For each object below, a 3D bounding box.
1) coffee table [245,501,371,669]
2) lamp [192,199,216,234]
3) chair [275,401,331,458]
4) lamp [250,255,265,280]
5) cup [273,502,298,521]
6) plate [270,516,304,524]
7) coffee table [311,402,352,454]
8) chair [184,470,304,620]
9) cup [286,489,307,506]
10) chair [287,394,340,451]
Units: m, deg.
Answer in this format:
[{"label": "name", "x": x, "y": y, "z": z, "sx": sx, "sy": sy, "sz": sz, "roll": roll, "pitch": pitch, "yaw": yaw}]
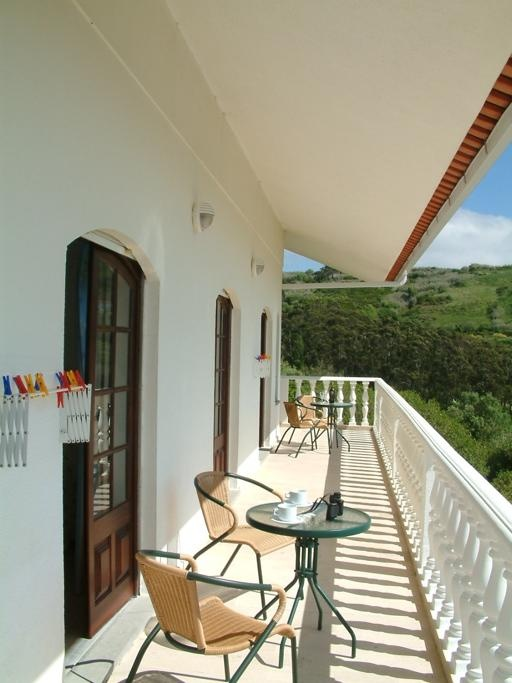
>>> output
[{"label": "coffee table", "x": 0.257, "y": 1.273, "z": 2.643, "sx": 0.661, "sy": 0.936, "sz": 0.739, "roll": 0, "pitch": 1, "yaw": -4}, {"label": "lamp", "x": -0.463, "y": -1.030, "z": 3.767, "sx": 0.206, "sy": 0.240, "sz": 0.105, "roll": -14, "pitch": 14, "yaw": -37}, {"label": "chair", "x": 0.906, "y": 1.549, "z": 8.354, "sx": 0.604, "sy": 0.992, "sz": 0.708, "roll": -5, "pitch": 7, "yaw": -9}, {"label": "lamp", "x": 0.023, "y": -1.079, "z": 6.597, "sx": 0.137, "sy": 0.222, "sz": 0.293, "roll": -9, "pitch": 43, "yaw": -5}, {"label": "cup", "x": 0.155, "y": 0.928, "z": 2.488, "sx": 0.093, "sy": 0.085, "sz": 0.081, "roll": -2, "pitch": -1, "yaw": 14}, {"label": "plate", "x": 0.174, "y": 0.962, "z": 2.428, "sx": 0.172, "sy": 0.018, "sz": 0.162, "roll": 0, "pitch": 0, "yaw": 1}, {"label": "coffee table", "x": 1.433, "y": 1.586, "z": 8.666, "sx": 0.893, "sy": 0.902, "sz": 1.016, "roll": 2, "pitch": 3, "yaw": 20}, {"label": "chair", "x": -0.098, "y": 1.347, "z": 3.141, "sx": 0.596, "sy": 0.885, "sz": 0.644, "roll": -7, "pitch": -9, "yaw": 22}, {"label": "cup", "x": 0.252, "y": 0.951, "z": 2.768, "sx": 0.107, "sy": 0.095, "sz": 0.076, "roll": -4, "pitch": -6, "yaw": 30}, {"label": "chair", "x": 0.910, "y": 1.557, "z": 8.390, "sx": 0.606, "sy": 1.033, "sz": 0.724, "roll": -7, "pitch": 6, "yaw": -20}]
